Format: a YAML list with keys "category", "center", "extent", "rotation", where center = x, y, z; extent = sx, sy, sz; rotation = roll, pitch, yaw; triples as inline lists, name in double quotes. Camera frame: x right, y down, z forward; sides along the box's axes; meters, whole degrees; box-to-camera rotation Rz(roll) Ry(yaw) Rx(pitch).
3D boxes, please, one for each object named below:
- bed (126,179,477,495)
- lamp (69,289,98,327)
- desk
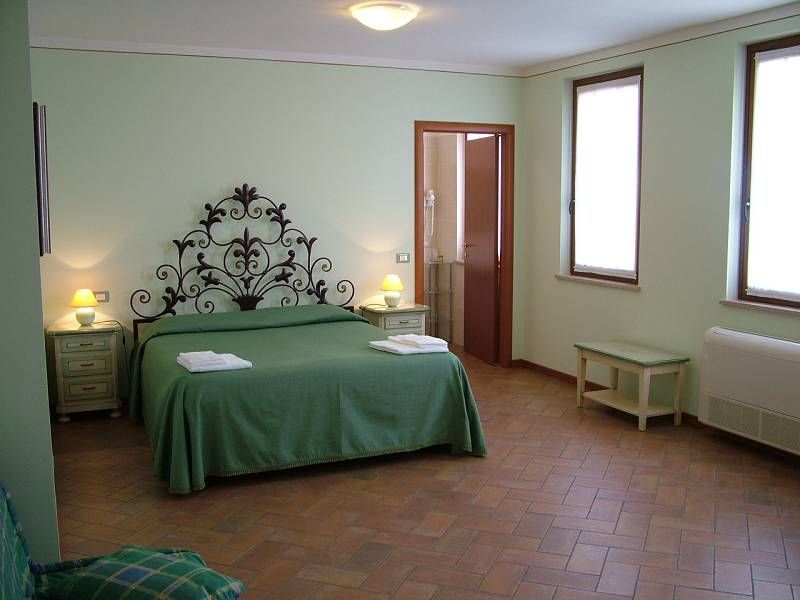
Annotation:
- category: "bed"
  center: [-0.955, 0.084, 4.748]
  extent: [2.371, 2.049, 2.608]
  rotation: [-6, 11, -28]
- category: "lamp"
  center: [-2.780, 0.060, 5.124]
  extent: [0.198, 0.343, 0.202]
  rotation: [0, 9, -6]
- category: "desk"
  center: [2.038, 0.731, 5.213]
  extent: [0.510, 0.600, 0.882]
  rotation: [-2, 7, -22]
